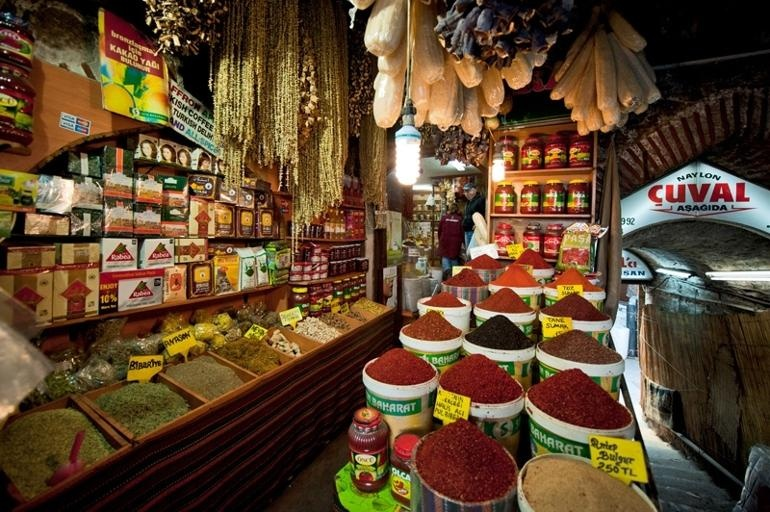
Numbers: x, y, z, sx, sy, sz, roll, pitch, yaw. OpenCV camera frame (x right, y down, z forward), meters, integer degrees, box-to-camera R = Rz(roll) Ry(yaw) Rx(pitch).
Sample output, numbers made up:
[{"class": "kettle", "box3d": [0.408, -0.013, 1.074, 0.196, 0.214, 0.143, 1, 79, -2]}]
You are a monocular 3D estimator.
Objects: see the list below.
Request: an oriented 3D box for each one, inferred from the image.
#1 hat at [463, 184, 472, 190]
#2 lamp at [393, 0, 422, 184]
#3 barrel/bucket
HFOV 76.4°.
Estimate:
[{"class": "hat", "box3d": [1.021, -0.853, 6.120, 0.096, 0.079, 0.113, -1, 9, -41]}, {"class": "lamp", "box3d": [0.161, -1.013, 3.097, 0.155, 1.089, 0.327, 5, 6, 7]}, {"class": "barrel/bucket", "box3d": [0.724, 0.950, 2.835, 1.439, 1.014, 0.816, 8, 7, 28]}]
